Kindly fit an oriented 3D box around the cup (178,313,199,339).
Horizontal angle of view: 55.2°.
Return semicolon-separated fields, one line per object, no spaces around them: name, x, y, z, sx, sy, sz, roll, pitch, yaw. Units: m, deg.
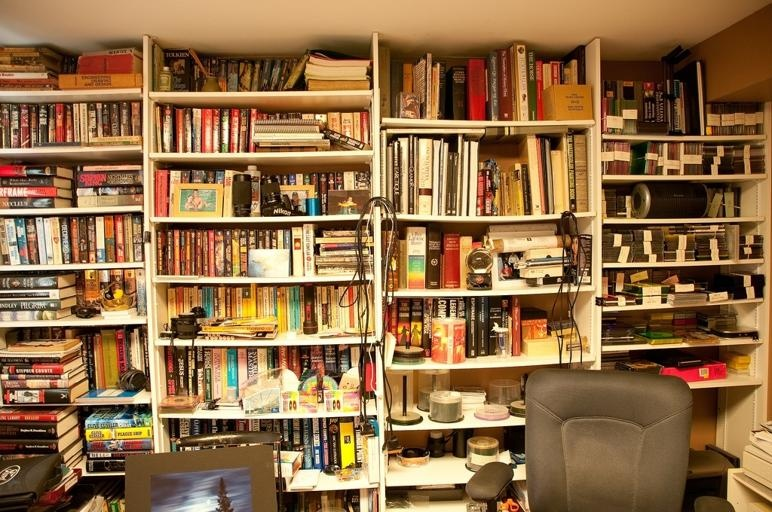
cup;-1.251;0.438;4.619;0.143;0.139;0.138;0;0;0

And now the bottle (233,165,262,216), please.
bottle;-0.896;-0.416;4.731;0.204;0.313;0.099;-4;1;-17
